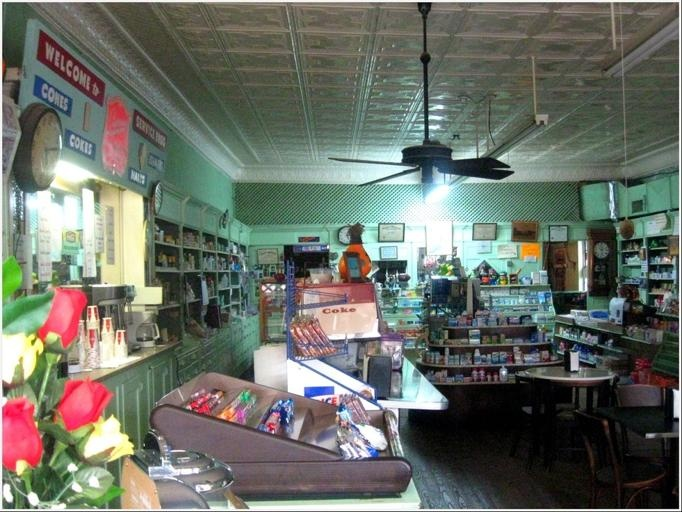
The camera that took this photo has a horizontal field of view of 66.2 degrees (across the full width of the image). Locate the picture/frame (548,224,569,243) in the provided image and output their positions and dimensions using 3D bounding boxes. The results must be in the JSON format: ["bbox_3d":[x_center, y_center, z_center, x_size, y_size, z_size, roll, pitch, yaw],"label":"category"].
[{"bbox_3d":[4.627,-0.512,11.165,0.437,0.380,0.044,1,-2,3],"label":"picture/frame"}]

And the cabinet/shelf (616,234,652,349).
[{"bbox_3d":[5.976,0.392,10.518,0.622,1.465,0.226,-10,-3,42],"label":"cabinet/shelf"}]

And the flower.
[{"bbox_3d":[-0.856,0.447,1.626,0.385,0.703,0.263,0,2,-21],"label":"flower"}]

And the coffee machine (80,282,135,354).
[{"bbox_3d":[-2.082,0.564,4.849,0.408,0.585,0.411,-1,-2,39],"label":"coffee machine"}]

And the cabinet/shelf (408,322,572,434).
[{"bbox_3d":[1.884,1.432,7.137,2.117,1.229,1.216,0,-6,-6],"label":"cabinet/shelf"}]

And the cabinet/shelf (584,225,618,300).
[{"bbox_3d":[5.567,0.136,11.160,0.359,1.393,0.551,-1,2,-35],"label":"cabinet/shelf"}]

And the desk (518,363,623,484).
[{"bbox_3d":[2.229,1.621,5.588,1.025,1.027,0.992,-1,3,-31],"label":"desk"}]

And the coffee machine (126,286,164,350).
[{"bbox_3d":[-2.005,0.620,5.327,0.412,0.577,0.377,-2,-6,9],"label":"coffee machine"}]

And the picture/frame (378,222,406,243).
[{"bbox_3d":[1.048,-0.509,11.112,0.450,0.343,0.047,0,-4,-4],"label":"picture/frame"}]

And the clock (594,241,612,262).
[{"bbox_3d":[5.528,-0.127,11.064,0.401,0.365,0.087,-1,0,-10],"label":"clock"}]

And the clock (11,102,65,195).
[{"bbox_3d":[-2.174,-0.775,3.780,0.153,0.625,0.421,0,1,1],"label":"clock"}]

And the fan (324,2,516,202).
[{"bbox_3d":[1.262,-1.371,5.919,2.030,1.866,1.758,0,0,-32],"label":"fan"}]

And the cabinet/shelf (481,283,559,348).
[{"bbox_3d":[3.413,1.180,10.454,1.593,1.337,0.622,-1,-4,-10],"label":"cabinet/shelf"}]

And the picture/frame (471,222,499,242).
[{"bbox_3d":[3.058,-0.524,11.203,0.686,0.321,0.463,2,-1,2],"label":"picture/frame"}]

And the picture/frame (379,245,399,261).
[{"bbox_3d":[0.993,-0.067,11.066,0.339,0.261,0.113,1,-9,-2],"label":"picture/frame"}]
